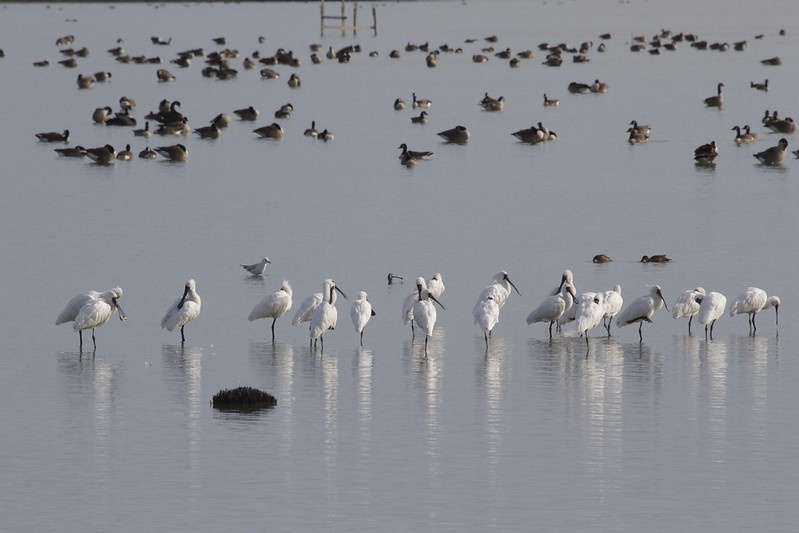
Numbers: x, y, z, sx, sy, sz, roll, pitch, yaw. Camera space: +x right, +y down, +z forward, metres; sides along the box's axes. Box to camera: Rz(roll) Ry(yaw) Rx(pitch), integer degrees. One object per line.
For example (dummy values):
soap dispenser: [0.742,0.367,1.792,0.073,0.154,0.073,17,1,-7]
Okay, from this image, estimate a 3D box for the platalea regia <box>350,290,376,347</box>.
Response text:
platalea regia: [-1.505,1.858,54.224,0.726,1.997,0.872,4,-13,8]
